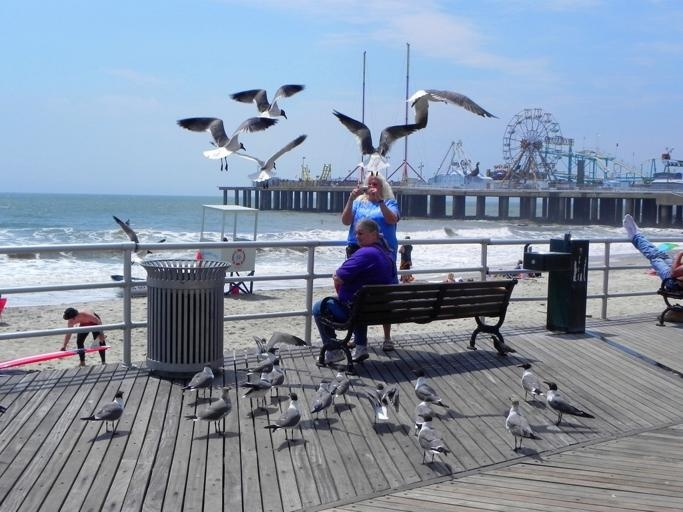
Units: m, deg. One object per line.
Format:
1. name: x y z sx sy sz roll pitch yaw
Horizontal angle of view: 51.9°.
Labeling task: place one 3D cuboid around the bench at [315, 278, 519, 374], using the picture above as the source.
1. bench: 0.821 0.590 6.525 1.441 0.522 0.496 -3 8 34

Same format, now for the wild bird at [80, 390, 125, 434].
1. wild bird: -1.743 1.136 5.082 0.283 0.261 0.356 -3 14 -20

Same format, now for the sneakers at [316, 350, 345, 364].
1. sneakers: -0.095 0.924 6.430 0.284 0.098 0.086 0 8 9

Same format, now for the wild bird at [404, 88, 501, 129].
1. wild bird: 1.072 -1.544 7.385 0.773 0.373 0.421 8 14 25

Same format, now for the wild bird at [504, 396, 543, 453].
1. wild bird: 1.317 1.190 5.080 0.222 0.341 0.468 7 14 17

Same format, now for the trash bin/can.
1. trash bin/can: -1.198 0.546 6.393 1.075 1.067 0.956 1 -1 -1

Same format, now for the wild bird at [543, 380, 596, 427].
1. wild bird: 1.678 1.134 5.515 0.587 0.326 0.181 3 1 19

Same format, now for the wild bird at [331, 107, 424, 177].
1. wild bird: 0.408 -1.183 7.248 0.957 0.577 0.842 2 13 0

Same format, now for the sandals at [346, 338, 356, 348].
1. sandals: 0.086 0.884 6.997 0.113 0.054 0.136 8 26 9

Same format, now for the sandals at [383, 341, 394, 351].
1. sandals: 0.460 0.902 7.028 0.081 0.071 0.215 -2 -8 1
